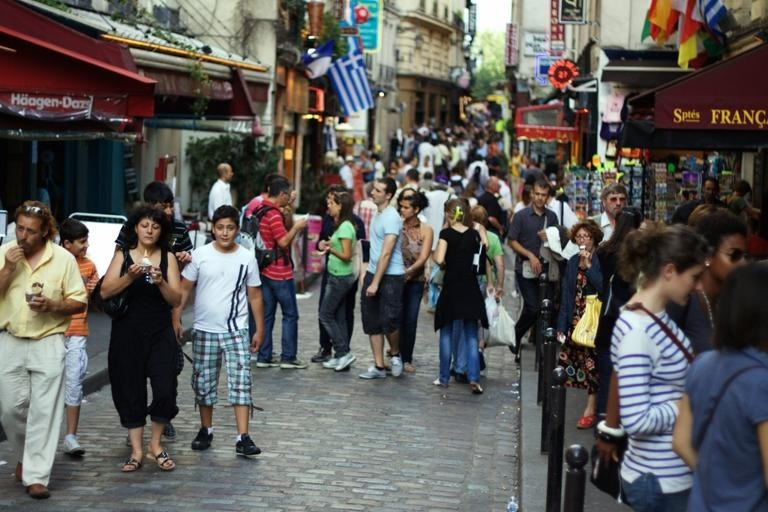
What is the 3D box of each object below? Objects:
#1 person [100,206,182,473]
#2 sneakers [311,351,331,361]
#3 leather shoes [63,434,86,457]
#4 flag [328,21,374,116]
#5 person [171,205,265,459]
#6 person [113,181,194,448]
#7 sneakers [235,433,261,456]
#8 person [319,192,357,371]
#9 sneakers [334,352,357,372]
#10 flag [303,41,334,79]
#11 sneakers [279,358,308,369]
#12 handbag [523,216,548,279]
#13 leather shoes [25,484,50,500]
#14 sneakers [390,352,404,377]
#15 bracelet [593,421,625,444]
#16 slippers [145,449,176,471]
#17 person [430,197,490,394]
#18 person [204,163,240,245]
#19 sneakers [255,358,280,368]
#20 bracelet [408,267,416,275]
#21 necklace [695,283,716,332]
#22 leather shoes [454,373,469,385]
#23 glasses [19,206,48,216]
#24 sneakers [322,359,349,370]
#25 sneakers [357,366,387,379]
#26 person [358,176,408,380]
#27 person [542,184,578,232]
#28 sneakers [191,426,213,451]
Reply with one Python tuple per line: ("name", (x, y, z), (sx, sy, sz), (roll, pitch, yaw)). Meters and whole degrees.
("person", (-2.321, 0.803, 9.106), (0.723, 2.539, 0.405), (0, 7, -16))
("sneakers", (-0.874, 1.399, 13.279), (0.276, 0.164, 0.117), (1, 2, -16))
("leather shoes", (-3.091, 1.902, 9.522), (0.128, 0.174, 0.336), (-1, 1, -36))
("flag", (-0.952, -5.021, 26.923), (1.218, 1.931, 1.414), (1, 8, -6))
("person", (-1.645, 0.742, 9.623), (0.805, 2.494, 0.622), (1, 7, -9))
("person", (-2.388, 0.750, 9.711), (0.785, 2.668, 0.822), (0, 21, -18))
("sneakers", (-1.375, 1.909, 9.597), (0.140, 0.157, 0.301), (-2, -2, -35))
("person", (-0.612, 0.333, 12.710), (0.477, 2.421, 0.557), (1, 7, -3))
("sneakers", (-0.530, 1.448, 12.808), (0.171, 0.160, 0.369), (36, -33, -11))
("flag", (-1.760, -5.237, 25.050), (0.840, 1.086, 0.302), (10, 21, -32))
("sneakers", (-1.218, 1.421, 12.884), (0.355, 0.182, 0.145), (-1, 5, -18))
("handbag", (2.151, -0.132, 13.559), (0.316, 0.841, 0.722), (3, 8, 11))
("leather shoes", (-3.095, 2.122, 8.530), (0.091, 0.115, 0.264), (8, 5, 16))
("sneakers", (0.169, 1.440, 12.613), (0.105, 0.122, 0.324), (-3, 40, 0))
("bracelet", (1.618, 1.266, 6.765), (0.150, 0.064, 0.134), (11, -6, -27))
("slippers", (-2.180, 1.980, 9.302), (0.147, 0.140, 0.333), (-18, 22, -37))
("person", (0.972, 0.478, 12.080), (0.707, 2.403, 0.585), (3, 7, 14))
("person", (-2.774, -0.987, 16.191), (0.456, 1.900, 0.849), (-5, 40, -14))
("sneakers", (-1.585, 1.452, 12.930), (0.296, 0.148, 0.120), (-4, 5, -32))
("bracelet", (0.356, 0.200, 12.532), (0.068, 0.110, 0.103), (9, 10, 43))
("necklace", (2.484, 0.403, 7.340), (0.083, 0.364, 0.208), (-11, 1, 35))
("leather shoes", (1.014, 1.603, 12.443), (0.150, 0.164, 0.271), (-4, -7, 14))
("glasses", (-3.184, -0.420, 8.646), (0.180, 0.076, 0.064), (-1, 8, -24))
("sneakers", (-0.638, 1.445, 12.881), (0.385, 0.200, 0.152), (4, 2, 27))
("sneakers", (-0.141, 1.541, 12.450), (0.305, 0.158, 0.153), (4, 2, -5))
("person", (-0.007, 0.302, 12.374), (0.560, 2.616, 0.498), (2, 7, 0))
("person", (2.940, -0.799, 15.824), (0.247, 0.313, 1.122), (-16, -46, 29))
("sneakers", (-1.871, 1.885, 9.788), (0.110, 0.151, 0.317), (2, 2, 9))
